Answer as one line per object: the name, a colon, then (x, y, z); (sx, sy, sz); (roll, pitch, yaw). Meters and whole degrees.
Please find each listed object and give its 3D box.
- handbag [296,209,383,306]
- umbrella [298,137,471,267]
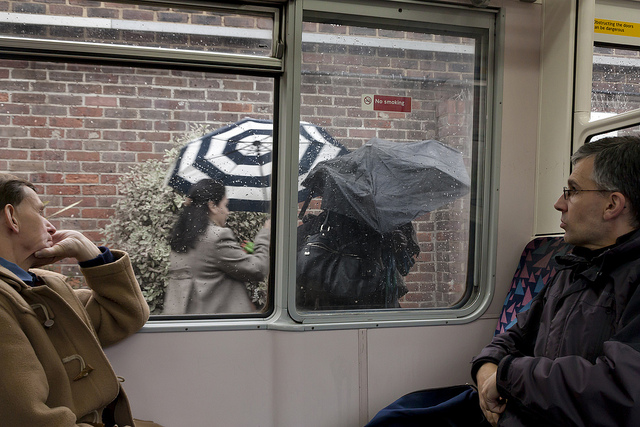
handbag: (0.159, 0.273, 4.713); (0.656, 0.675, 0.451); (2, 0, 8)
umbrella: (0.377, -0.217, 4.752); (1.220, 0.451, 1.030); (-18, 22, -33)
